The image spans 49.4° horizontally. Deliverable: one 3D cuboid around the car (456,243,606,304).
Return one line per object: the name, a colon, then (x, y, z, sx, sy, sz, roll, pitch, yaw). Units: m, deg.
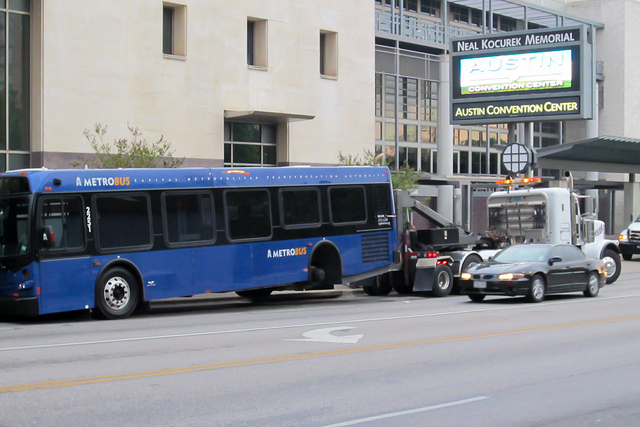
car: (6.918, 1.904, 22.681, 4.870, 1.785, 1.681, 0, 1, -30)

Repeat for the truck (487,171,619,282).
truck: (10.189, 0.414, 29.308, 6.189, 3.790, 3.584, -4, 5, -33)
